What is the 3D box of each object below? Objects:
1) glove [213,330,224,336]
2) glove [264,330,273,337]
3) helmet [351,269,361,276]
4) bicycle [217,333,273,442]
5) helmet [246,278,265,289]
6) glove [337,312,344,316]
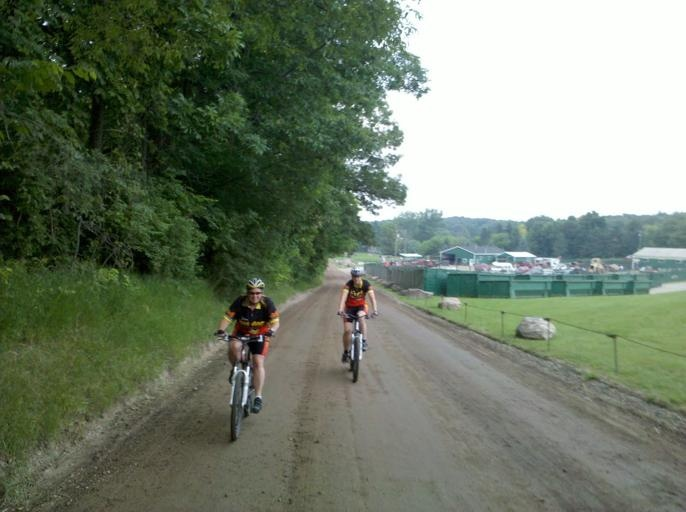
[{"bbox_3d":[-2.236,1.409,11.313,0.145,0.142,0.188,0,10,-4],"label":"glove"},{"bbox_3d":[-1.374,1.444,11.528,0.138,0.100,0.086,-4,-3,30],"label":"glove"},{"bbox_3d":[0.303,0.380,14.368,0.235,0.190,0.308,1,10,1],"label":"helmet"},{"bbox_3d":[-1.851,2.297,11.259,0.691,1.604,1.451,3,10,8],"label":"bicycle"},{"bbox_3d":[-1.629,0.530,11.571,0.301,0.202,0.285,-2,10,-19],"label":"helmet"},{"bbox_3d":[-0.045,1.308,14.033,0.095,0.041,0.072,7,12,-3],"label":"glove"}]
